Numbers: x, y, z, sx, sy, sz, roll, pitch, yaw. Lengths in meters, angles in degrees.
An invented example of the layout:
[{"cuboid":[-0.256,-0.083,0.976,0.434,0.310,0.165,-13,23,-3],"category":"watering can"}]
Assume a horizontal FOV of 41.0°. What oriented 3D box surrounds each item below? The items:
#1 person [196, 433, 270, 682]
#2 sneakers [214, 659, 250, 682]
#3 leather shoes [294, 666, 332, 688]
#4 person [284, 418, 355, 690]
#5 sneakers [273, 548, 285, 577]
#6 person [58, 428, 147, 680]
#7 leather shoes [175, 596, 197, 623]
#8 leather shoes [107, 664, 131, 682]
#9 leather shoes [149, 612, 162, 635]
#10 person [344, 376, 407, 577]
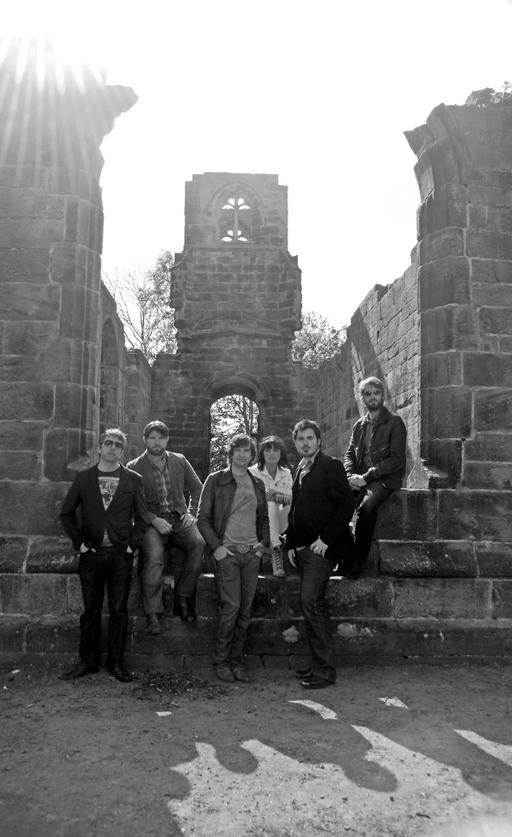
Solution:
[{"cuboid":[-0.129,0.898,4.665,0.511,1.594,0.487,3,-5,-17],"category":"person"},{"cuboid":[-0.156,1.633,4.421,0.213,0.085,0.180,2,-6,-5],"category":"sneakers"},{"cuboid":[0.340,1.635,4.307,0.260,0.132,0.089,-10,1,-7],"category":"leather shoes"},{"cuboid":[0.428,0.845,4.567,0.406,1.689,0.616,1,-5,0],"category":"person"},{"cuboid":[0.170,1.082,5.254,0.096,0.180,0.269,1,-5,1],"category":"sneakers"},{"cuboid":[-1.016,0.863,4.508,0.551,1.584,0.395,2,-5,-9],"category":"person"},{"cuboid":[-0.489,1.343,4.797,0.151,0.184,0.097,2,-5,-11],"category":"leather shoes"},{"cuboid":[-0.846,1.613,4.331,0.062,0.082,0.193,7,-25,-25],"category":"leather shoes"},{"cuboid":[-0.691,1.405,4.690,0.050,0.160,0.144,-2,24,-32],"category":"leather shoes"},{"cuboid":[0.832,0.435,5.141,0.521,1.473,0.615,3,-5,-19],"category":"person"}]
